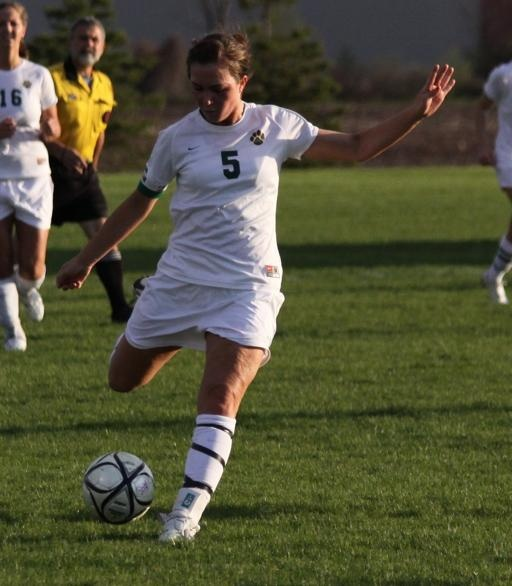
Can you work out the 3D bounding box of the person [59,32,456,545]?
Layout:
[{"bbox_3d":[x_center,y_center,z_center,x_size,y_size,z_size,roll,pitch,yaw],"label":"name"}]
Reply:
[{"bbox_3d":[-0.122,-0.092,5.929,1.472,2.051,1.023,-3,14,-9],"label":"person"}]

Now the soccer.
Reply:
[{"bbox_3d":[-0.597,0.856,5.879,0.298,0.269,0.184,-3,14,-8],"label":"soccer"}]

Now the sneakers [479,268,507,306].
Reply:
[{"bbox_3d":[1.633,-0.035,9.330,0.078,0.221,0.165,-26,14,-27],"label":"sneakers"}]

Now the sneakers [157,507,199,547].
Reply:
[{"bbox_3d":[-0.329,0.974,5.624,0.143,0.130,0.056,-3,15,-4],"label":"sneakers"}]

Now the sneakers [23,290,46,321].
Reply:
[{"bbox_3d":[-1.361,0.068,8.361,0.098,0.183,0.073,6,46,19],"label":"sneakers"}]
